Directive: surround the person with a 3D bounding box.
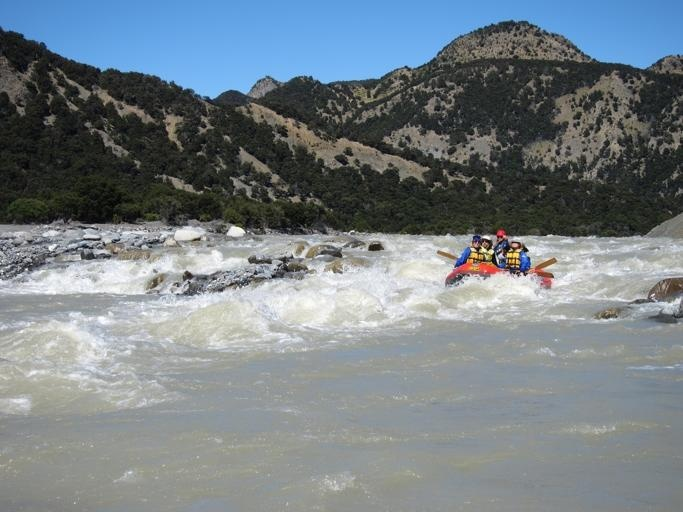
[{"bbox_3d":[4.800,-0.049,21.495,1.524,0.898,1.995,0,-2,30],"label":"person"}]

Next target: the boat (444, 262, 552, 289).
[{"bbox_3d":[4.324,0.448,20.064,2.096,0.375,1.100,3,-2,-15],"label":"boat"}]
